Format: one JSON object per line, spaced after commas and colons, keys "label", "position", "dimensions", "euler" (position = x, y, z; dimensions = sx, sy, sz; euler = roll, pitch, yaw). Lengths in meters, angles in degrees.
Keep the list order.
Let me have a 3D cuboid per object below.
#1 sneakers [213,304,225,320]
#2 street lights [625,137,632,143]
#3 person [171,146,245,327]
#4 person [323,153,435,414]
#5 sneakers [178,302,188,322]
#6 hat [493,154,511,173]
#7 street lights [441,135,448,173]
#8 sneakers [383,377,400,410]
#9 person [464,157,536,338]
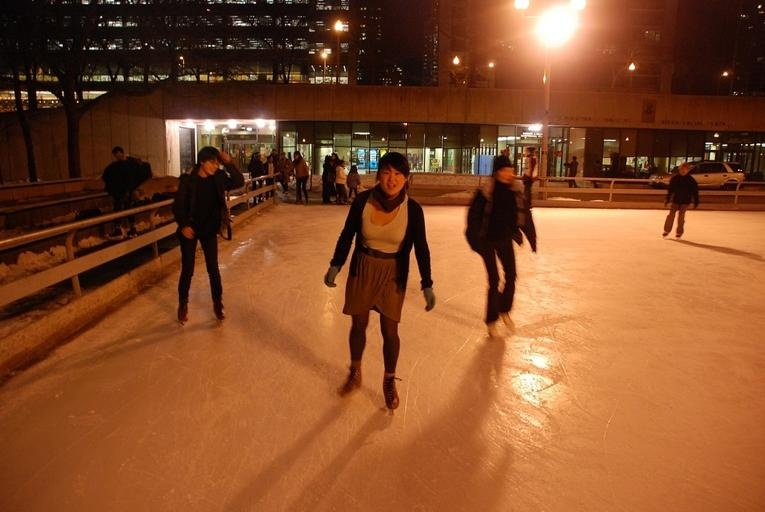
{"label": "sneakers", "position": [-2.330, 0.806, 7.021], "dimensions": [0.135, 0.235, 0.088], "euler": [-9, 11, -3]}
{"label": "street lights", "position": [19.195, -9.020, 38.537], "dimensions": [0.413, 0.434, 0.100], "euler": [3, 3, -13]}
{"label": "person", "position": [-2.422, -0.246, 6.714], "dimensions": [0.718, 2.400, 0.997], "euler": [2, 13, 8]}
{"label": "person", "position": [-0.011, 0.263, 4.759], "dimensions": [1.011, 2.449, 0.414], "euler": [2, 13, 6]}
{"label": "sneakers", "position": [-2.775, 0.780, 6.880], "dimensions": [0.107, 0.319, 0.151], "euler": [3, 3, -11]}
{"label": "hat", "position": [1.548, -1.165, 6.347], "dimensions": [0.247, 0.223, 0.300], "euler": [4, 14, 14]}
{"label": "street lights", "position": [4.838, -7.823, 38.216], "dimensions": [0.471, 2.679, 0.630], "euler": [2, 13, 8]}
{"label": "sneakers", "position": [0.105, 1.350, 4.861], "dimensions": [0.116, 0.225, 0.347], "euler": [-1, 20, 3]}
{"label": "person", "position": [1.487, -0.122, 6.534], "dimensions": [0.811, 2.340, 0.421], "euler": [1, 13, 2]}
